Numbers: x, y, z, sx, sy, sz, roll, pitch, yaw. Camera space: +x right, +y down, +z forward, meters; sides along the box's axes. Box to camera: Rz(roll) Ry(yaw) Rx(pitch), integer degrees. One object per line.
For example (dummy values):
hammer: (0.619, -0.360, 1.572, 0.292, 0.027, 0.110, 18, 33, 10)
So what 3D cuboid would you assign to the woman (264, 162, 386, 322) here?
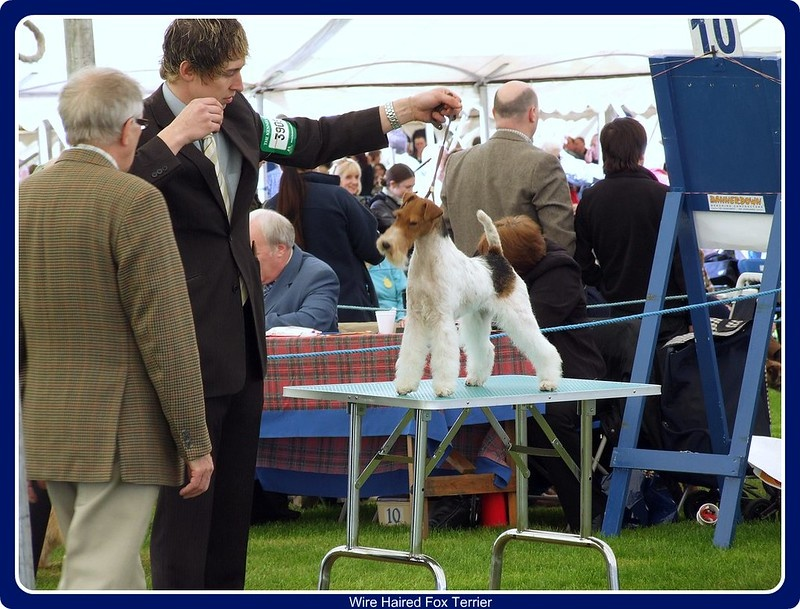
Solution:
woman: (-0.483, -0.570, 7.599, 1.141, 1.583, 1.022, 1, 11, 6)

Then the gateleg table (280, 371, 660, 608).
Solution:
gateleg table: (0.176, 0.865, 4.341, 1.313, 0.854, 0.752, 3, -6, -17)

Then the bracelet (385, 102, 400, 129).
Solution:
bracelet: (-0.038, -0.806, 4.121, 0.054, 0.088, 0.082, -16, -34, -25)

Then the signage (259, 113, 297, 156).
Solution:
signage: (-0.530, -0.702, 4.029, 0.168, 0.159, 0.131, -1, 6, -40)

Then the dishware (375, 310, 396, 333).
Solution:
dishware: (-0.092, 0.098, 5.874, 0.122, 0.140, 0.127, -1, -1, -2)

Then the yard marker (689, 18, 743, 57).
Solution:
yard marker: (1.743, -1.518, 5.402, 0.272, 0.032, 0.322, 11, -28, 32)

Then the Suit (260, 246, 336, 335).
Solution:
Suit: (-0.661, -0.051, 6.344, 0.439, 0.610, 0.763, 1, -2, -18)

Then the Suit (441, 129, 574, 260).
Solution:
Suit: (0.650, -0.689, 6.170, 0.934, 0.899, 0.497, 11, 25, 26)

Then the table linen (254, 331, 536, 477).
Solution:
table linen: (-0.231, 0.600, 5.855, 1.047, 0.547, 1.032, 1, -2, -41)

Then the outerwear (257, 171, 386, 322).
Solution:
outerwear: (-0.572, -0.484, 7.493, 0.804, 1.111, 0.680, 6, 20, 25)

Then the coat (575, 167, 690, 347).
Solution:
coat: (1.600, -0.378, 6.616, 0.789, 1.121, 0.608, 5, 18, 32)
